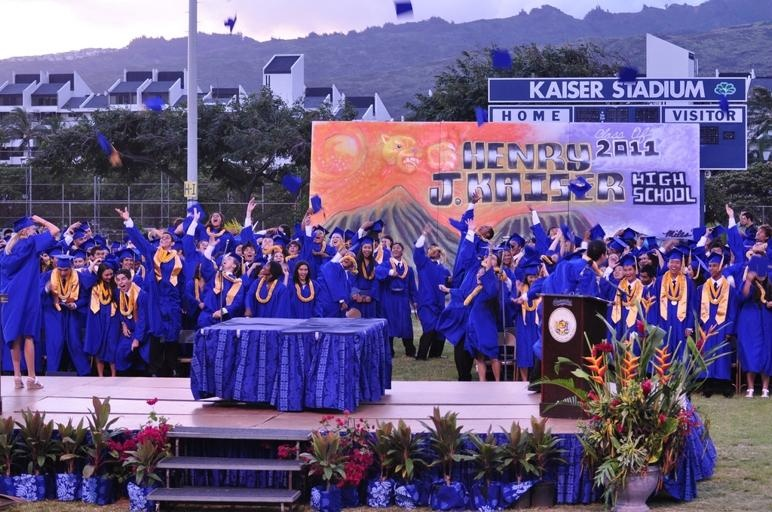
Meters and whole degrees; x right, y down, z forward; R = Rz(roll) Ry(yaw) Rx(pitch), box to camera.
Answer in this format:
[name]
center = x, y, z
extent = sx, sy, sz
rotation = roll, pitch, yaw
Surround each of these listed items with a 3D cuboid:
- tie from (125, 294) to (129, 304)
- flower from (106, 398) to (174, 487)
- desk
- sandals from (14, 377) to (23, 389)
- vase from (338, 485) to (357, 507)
[tie]
center = -7.062, 1.102, 39.789
extent = 0.143, 0.193, 0.047
rotation = -8, -2, -11
[flower]
center = -6.043, 4.794, 35.861
extent = 1.529, 1.389, 0.459
rotation = -1, 0, -9
[desk]
center = -2.406, 3.214, 36.654
extent = 6.575, 3.127, 2.908
rotation = 0, -1, 9
[sandals]
center = -9.588, 3.268, 37.977
extent = 0.210, 0.272, 0.632
rotation = 1, -9, -15
[vase]
center = -0.912, 5.865, 35.729
extent = 0.471, 0.516, 0.412
rotation = -1, -3, 9
